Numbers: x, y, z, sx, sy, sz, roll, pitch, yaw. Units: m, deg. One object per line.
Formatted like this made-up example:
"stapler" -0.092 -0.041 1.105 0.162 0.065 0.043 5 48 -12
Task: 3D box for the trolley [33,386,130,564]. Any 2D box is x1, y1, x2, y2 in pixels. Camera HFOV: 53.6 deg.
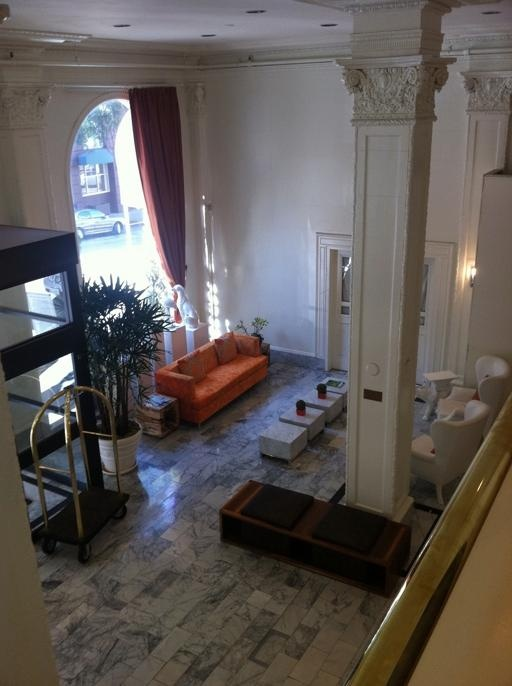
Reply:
"trolley" -2.279 1.730 6.523 0.807 2.303 1.367 5 26 11

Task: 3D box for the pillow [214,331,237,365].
"pillow" -0.604 0.117 10.405 0.197 0.558 0.572 4 22 39

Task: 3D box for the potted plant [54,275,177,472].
"potted plant" -2.099 0.553 7.919 1.695 2.828 1.525 -3 10 45

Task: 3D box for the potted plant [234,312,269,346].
"potted plant" -0.129 -0.327 11.405 0.639 0.460 0.651 13 22 34

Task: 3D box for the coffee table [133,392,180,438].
"coffee table" -1.728 1.191 9.020 0.669 0.678 0.702 10 24 27

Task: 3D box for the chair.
"chair" 2.122 0.845 5.396 0.757 0.974 1.716 19 44 34

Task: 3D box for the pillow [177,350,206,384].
"pillow" -1.166 0.457 9.374 0.175 0.355 0.514 8 21 25
